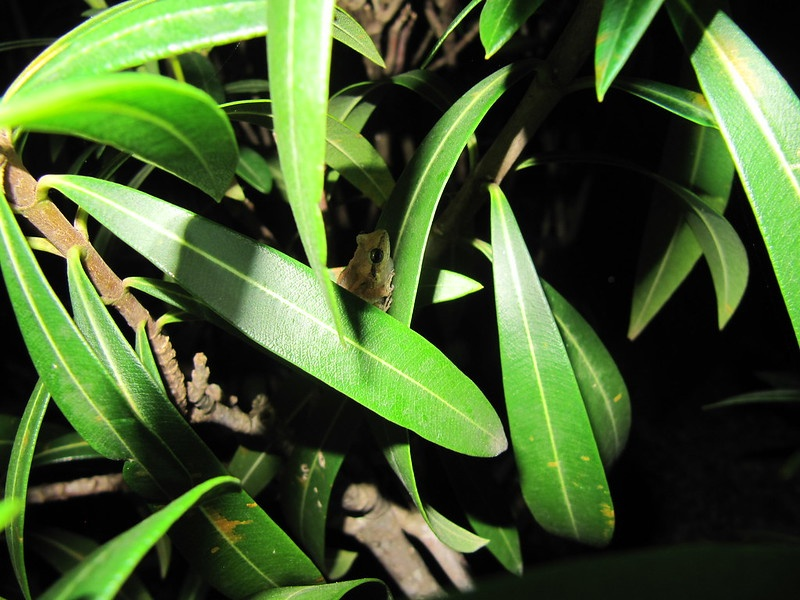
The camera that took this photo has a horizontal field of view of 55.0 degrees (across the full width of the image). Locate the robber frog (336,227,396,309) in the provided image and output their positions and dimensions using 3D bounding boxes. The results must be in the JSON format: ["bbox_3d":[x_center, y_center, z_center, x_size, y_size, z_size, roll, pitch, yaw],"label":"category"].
[{"bbox_3d":[-0.047,-0.065,1.488,0.062,0.156,0.115,-7,38,-36],"label":"robber frog"}]
